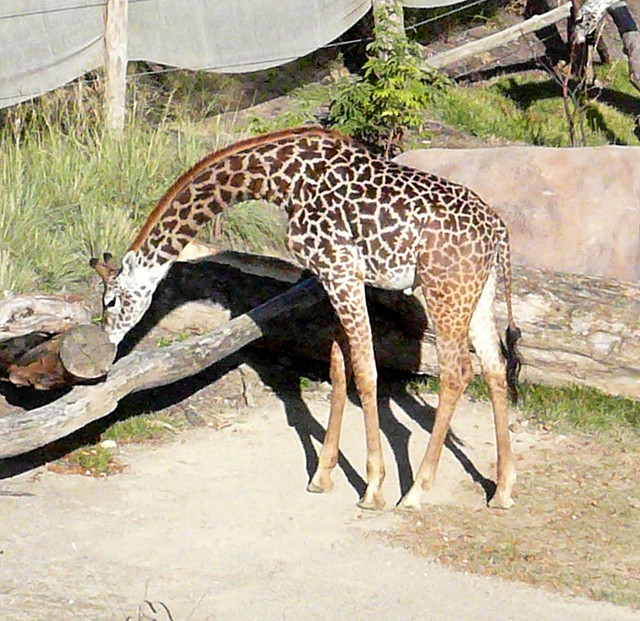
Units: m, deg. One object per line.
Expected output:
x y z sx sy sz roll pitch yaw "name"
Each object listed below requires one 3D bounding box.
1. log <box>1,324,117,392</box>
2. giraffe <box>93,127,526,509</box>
-2.304 0.411 9.936 0.564 0.496 1.425 37 -19 -21 "log"
0.002 0.053 9.769 3.631 3.065 1.025 1 6 1 "giraffe"
